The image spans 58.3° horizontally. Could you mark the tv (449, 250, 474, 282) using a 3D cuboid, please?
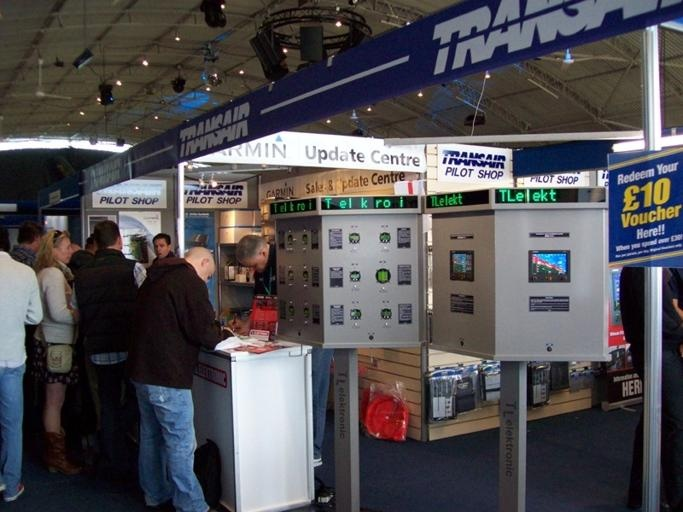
[{"bbox_3d":[0.740,0.073,3.735,0.027,0.209,0.192,-5,4,-39],"label":"tv"}]

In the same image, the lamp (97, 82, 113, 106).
[{"bbox_3d":[-5.199,-3.455,13.490,0.251,0.515,0.552,1,-2,-24],"label":"lamp"}]

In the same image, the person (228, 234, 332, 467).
[{"bbox_3d":[-0.384,0.827,5.347,0.821,2.068,0.586,-1,10,28],"label":"person"}]

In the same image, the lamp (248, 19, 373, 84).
[{"bbox_3d":[-0.618,-2.818,8.715,1.285,0.480,1.180,10,11,17],"label":"lamp"}]

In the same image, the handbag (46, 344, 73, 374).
[{"bbox_3d":[-2.380,0.862,5.129,0.251,0.313,0.163,1,1,-17],"label":"handbag"}]
